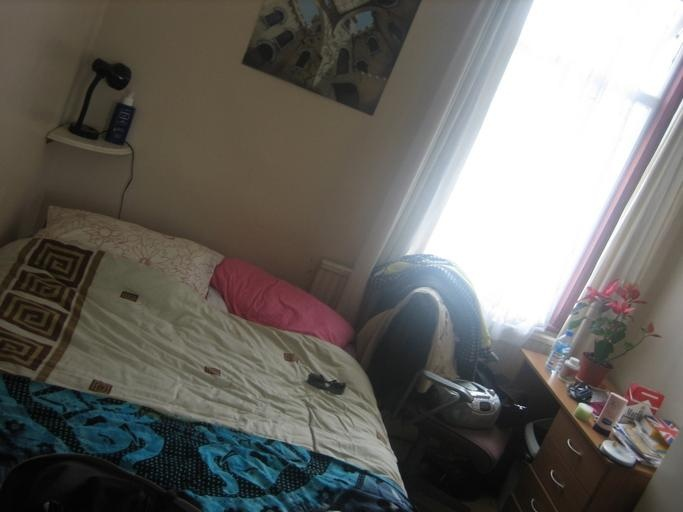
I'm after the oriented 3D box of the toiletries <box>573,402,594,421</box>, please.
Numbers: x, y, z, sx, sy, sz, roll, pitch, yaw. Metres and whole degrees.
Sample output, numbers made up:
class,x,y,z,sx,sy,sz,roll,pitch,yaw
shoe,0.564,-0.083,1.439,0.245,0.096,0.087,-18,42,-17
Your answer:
class,x,y,z,sx,sy,sz,roll,pitch,yaw
toiletries,1.176,0.762,2.262,0.078,0.060,0.079,2,16,-18

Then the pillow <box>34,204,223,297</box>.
class,x,y,z,sx,sy,sz,roll,pitch,yaw
pillow,-1.070,-0.059,2.408,0.768,0.136,0.471,22,27,-15

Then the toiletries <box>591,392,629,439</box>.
class,x,y,z,sx,sy,sz,roll,pitch,yaw
toiletries,1.294,0.748,2.212,0.150,0.195,0.072,12,15,-22

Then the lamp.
class,x,y,z,sx,sy,sz,roll,pitch,yaw
lamp,-1.303,-0.864,2.511,0.285,0.448,0.202,11,31,-38

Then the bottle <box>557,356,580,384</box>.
class,x,y,z,sx,sy,sz,roll,pitch,yaw
bottle,1.301,0.657,2.671,0.083,0.134,0.077,15,17,-5

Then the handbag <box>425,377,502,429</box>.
class,x,y,z,sx,sy,sz,roll,pitch,yaw
handbag,0.615,0.760,2.385,0.358,0.181,0.268,8,14,20

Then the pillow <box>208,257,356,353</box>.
class,x,y,z,sx,sy,sz,roll,pitch,yaw
pillow,-0.340,0.256,2.527,0.723,0.176,0.419,26,46,-10

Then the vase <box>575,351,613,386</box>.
class,x,y,z,sx,sy,sz,roll,pitch,yaw
vase,1.425,0.648,2.707,0.179,0.134,0.168,35,7,16

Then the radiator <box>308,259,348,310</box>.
class,x,y,z,sx,sy,sz,roll,pitch,yaw
radiator,-0.071,0.169,2.871,0.264,0.292,0.067,20,12,3

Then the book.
class,x,y,z,sx,sy,sz,roll,pitch,yaw
book,1.415,0.854,2.218,0.312,0.130,0.426,34,35,15
